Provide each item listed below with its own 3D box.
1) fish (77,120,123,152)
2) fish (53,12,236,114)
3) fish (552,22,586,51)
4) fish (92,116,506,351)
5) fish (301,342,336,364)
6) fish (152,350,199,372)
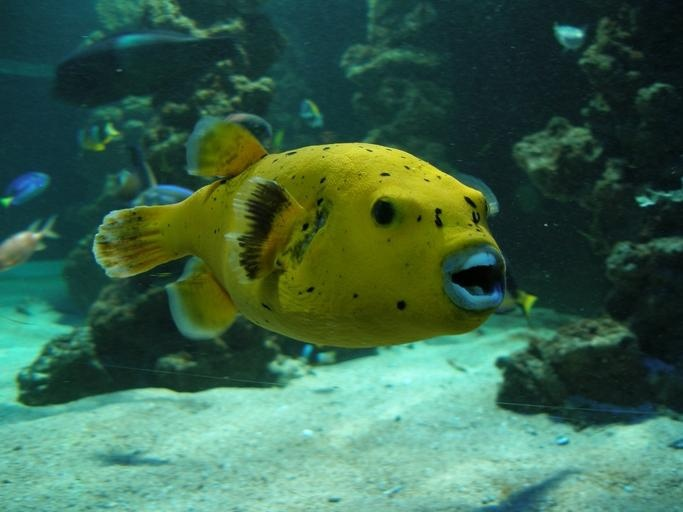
[{"bbox_3d":[-1.401,-0.685,4.374,0.139,0.101,0.346,-6,7,-36],"label":"fish"},{"bbox_3d":[-0.934,-0.930,3.692,0.790,0.173,0.390,0,34,2],"label":"fish"},{"bbox_3d":[1.079,-1.034,3.662,0.164,0.117,0.077,36,-5,18],"label":"fish"},{"bbox_3d":[-0.042,-0.101,3.157,2.036,0.700,0.780,6,10,18],"label":"fish"},{"bbox_3d":[-0.139,0.543,4.263,0.192,0.064,0.119,6,-3,-7],"label":"fish"},{"bbox_3d":[-0.885,0.562,4.080,0.186,0.038,0.158,2,2,4],"label":"fish"}]
